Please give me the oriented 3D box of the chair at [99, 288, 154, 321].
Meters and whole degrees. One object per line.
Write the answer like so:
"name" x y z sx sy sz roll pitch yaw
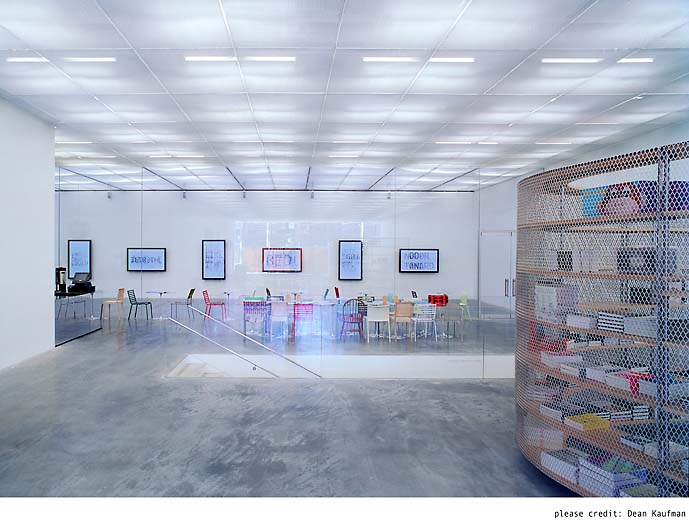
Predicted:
"chair" -4.897 0.953 10.183 0.776 0.493 0.278 1 -6 -10

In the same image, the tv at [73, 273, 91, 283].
"tv" -5.761 0.396 9.973 0.333 0.212 0.091 0 -4 -29

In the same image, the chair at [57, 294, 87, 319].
"chair" -5.971 0.971 10.140 0.464 0.558 0.618 0 -1 16

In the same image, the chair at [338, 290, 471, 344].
"chair" 1.475 1.210 9.688 3.123 0.989 1.383 1 -4 -36

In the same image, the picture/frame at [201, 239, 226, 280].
"picture/frame" -3.056 -0.011 10.597 0.646 1.007 0.279 -3 -4 26
